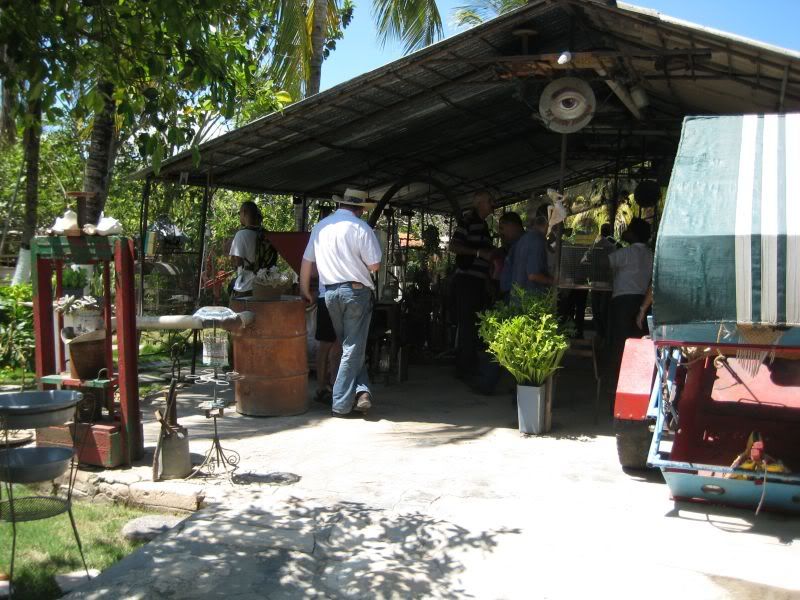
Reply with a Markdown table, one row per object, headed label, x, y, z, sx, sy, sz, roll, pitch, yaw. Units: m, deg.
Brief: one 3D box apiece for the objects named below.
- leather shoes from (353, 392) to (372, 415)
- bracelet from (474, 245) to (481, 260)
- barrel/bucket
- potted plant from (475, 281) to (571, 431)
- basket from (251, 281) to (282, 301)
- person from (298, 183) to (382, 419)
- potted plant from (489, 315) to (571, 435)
| label | x | y | z | sx | sy | sz | roll | pitch | yaw |
| --- | --- | --- | --- | --- | --- | --- | --- | --- | --- |
| leather shoes | -0.420 | 1.171 | 7.913 | 0.113 | 0.144 | 0.321 | 3 | -31 | -9 |
| bracelet | 1.139 | -0.689 | 10.150 | 0.122 | 0.178 | 0.042 | -3 | 21 | 2 |
| barrel/bucket | -1.414 | 0.665 | 8.145 | 1.143 | 1.686 | 1.167 | -1 | 0 | 0 |
| potted plant | 1.492 | 0.762 | 7.386 | 0.841 | 1.229 | 0.861 | 7 | -10 | -38 |
| basket | -1.578 | -0.113 | 8.176 | 0.301 | 0.196 | 0.212 | 0 | 8 | -25 |
| person | -0.642 | 0.040 | 7.804 | 0.857 | 2.537 | 0.467 | 1 | 7 | 11 |
| potted plant | 1.345 | 0.765 | 7.283 | 0.781 | 1.238 | 0.460 | 1 | 7 | 8 |
